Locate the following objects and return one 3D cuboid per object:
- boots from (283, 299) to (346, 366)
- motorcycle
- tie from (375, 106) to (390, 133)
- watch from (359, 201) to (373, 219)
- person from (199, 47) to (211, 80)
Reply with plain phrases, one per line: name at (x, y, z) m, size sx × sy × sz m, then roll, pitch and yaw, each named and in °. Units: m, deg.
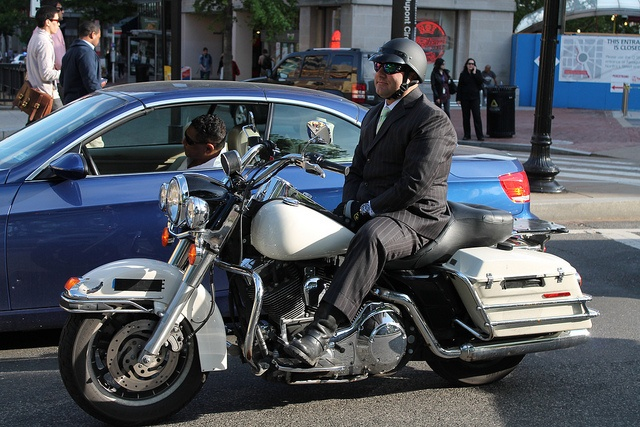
boots at (0.001, 0.815, 3.985) m, size 0.248 × 0.218 × 0.449 m, roll 13°, pitch 37°, yaw 28°
motorcycle at (0.023, 0.528, 4.125) m, size 3.457 × 1.962 × 0.840 m, roll -4°, pitch 15°, yaw -22°
tie at (0.488, -0.743, 4.550) m, size 0.065 × 0.258 × 0.017 m, roll 22°, pitch 3°, yaw 39°
watch at (0.334, -0.021, 4.196) m, size 0.099 × 0.103 × 0.067 m, roll -12°, pitch -18°, yaw 3°
person at (-7.202, -9.410, 37.104) m, size 0.645 × 1.831 × 1.195 m, roll -2°, pitch 15°, yaw -13°
